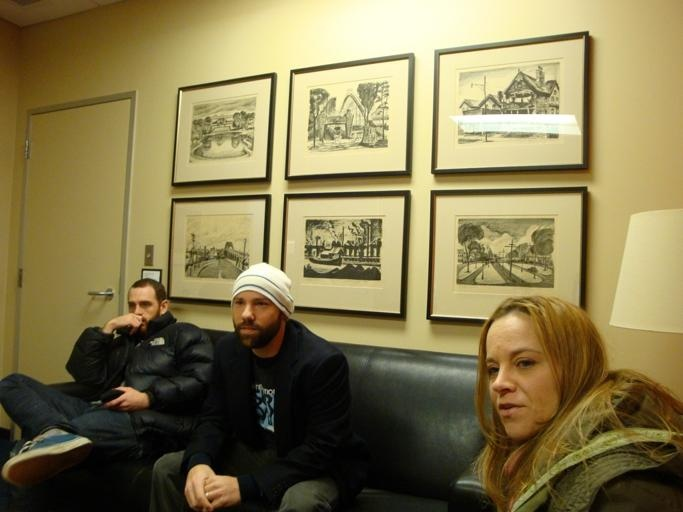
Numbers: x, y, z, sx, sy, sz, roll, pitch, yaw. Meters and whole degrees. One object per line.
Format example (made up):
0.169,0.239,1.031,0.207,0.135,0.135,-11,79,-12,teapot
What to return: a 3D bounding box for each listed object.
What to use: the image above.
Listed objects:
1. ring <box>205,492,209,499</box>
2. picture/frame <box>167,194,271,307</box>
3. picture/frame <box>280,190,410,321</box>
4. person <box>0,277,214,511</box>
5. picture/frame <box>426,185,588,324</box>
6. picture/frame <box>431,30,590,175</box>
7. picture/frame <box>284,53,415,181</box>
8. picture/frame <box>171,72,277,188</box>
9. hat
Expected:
-0.562,0.999,2.119,0.014,0.015,0.014,0,-8,0,ring
-0.789,-0.038,3.353,0.753,0.710,0.030,1,0,31,picture/frame
0.053,0.006,3.074,0.778,0.720,0.030,0,-2,28,picture/frame
-1.278,0.740,3.007,0.875,0.982,1.243,-11,-19,29,person
0.880,-0.012,2.633,0.730,0.669,0.027,1,-4,14,picture/frame
0.959,-0.837,2.790,0.802,0.720,0.033,-1,-6,21,picture/frame
0.079,-0.854,3.132,0.803,0.723,0.030,-1,-7,22,picture/frame
-0.786,-0.863,3.508,0.816,0.745,0.061,0,-7,25,picture/frame
-0.387,0.183,2.598,0.254,0.254,0.278,2,-8,21,hat
